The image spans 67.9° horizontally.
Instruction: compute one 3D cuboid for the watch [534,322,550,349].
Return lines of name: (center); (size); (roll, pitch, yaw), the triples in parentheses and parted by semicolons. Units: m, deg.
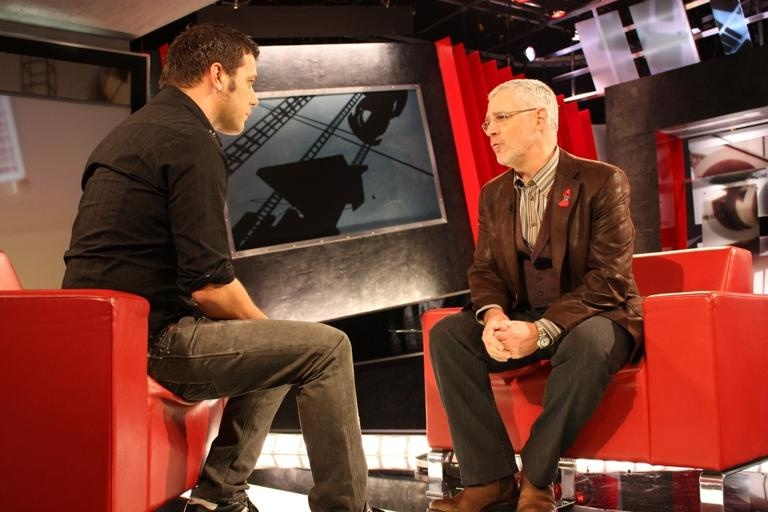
watch: (0.621, 0.312, 2.219); (0.036, 0.072, 0.086); (-18, -24, -8)
